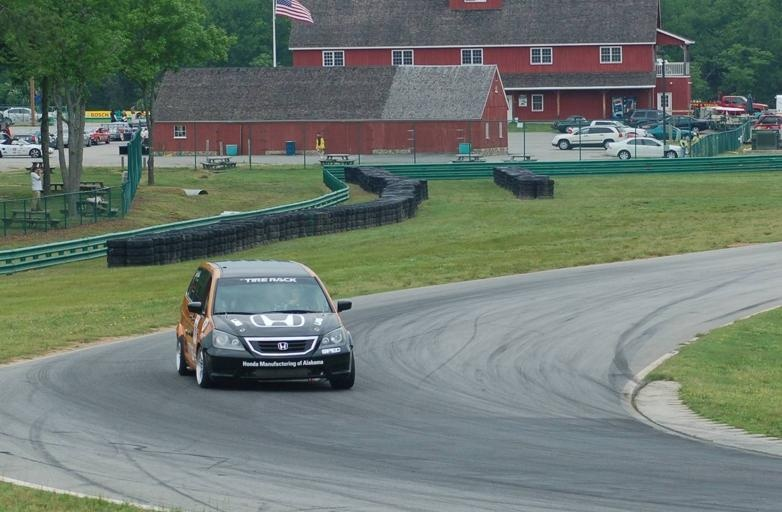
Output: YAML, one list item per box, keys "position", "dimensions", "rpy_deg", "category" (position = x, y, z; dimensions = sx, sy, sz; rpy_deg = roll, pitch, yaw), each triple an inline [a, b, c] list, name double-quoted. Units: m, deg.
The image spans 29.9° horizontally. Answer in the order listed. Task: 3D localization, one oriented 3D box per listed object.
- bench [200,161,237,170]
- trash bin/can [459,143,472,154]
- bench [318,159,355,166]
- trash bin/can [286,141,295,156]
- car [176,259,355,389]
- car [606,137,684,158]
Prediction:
- position: [-10.342, -5.580, 88.466]
  dimensions: [2.030, 0.534, 1.983]
  rpy_deg: [-5, 8, -18]
  category: "bench"
- position: [4.724, -6.957, 93.356]
  dimensions: [0.831, 0.541, 0.776]
  rpy_deg: [0, -1, 2]
  category: "trash bin/can"
- position: [-3.164, -5.640, 87.407]
  dimensions: [1.461, 0.244, 2.993]
  rpy_deg: [-5, 8, -18]
  category: "bench"
- position: [-6.767, -7.431, 99.309]
  dimensions: [0.692, 0.885, 0.482]
  rpy_deg: [-2, 8, -1]
  category: "trash bin/can"
- position: [-3.525, 1.991, 41.425]
  dimensions: [4.918, 3.455, 2.289]
  rpy_deg: [-2, 8, 1]
  category: "car"
- position: [15.122, -6.412, 86.729]
  dimensions: [4.275, 1.267, 1.744]
  rpy_deg: [-1, 8, 1]
  category: "car"
